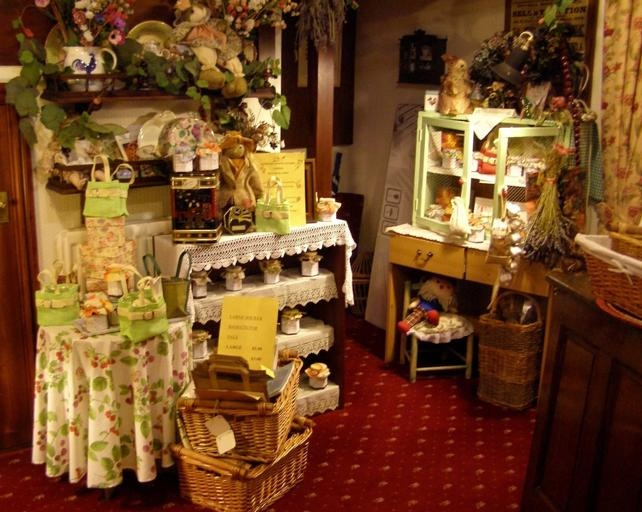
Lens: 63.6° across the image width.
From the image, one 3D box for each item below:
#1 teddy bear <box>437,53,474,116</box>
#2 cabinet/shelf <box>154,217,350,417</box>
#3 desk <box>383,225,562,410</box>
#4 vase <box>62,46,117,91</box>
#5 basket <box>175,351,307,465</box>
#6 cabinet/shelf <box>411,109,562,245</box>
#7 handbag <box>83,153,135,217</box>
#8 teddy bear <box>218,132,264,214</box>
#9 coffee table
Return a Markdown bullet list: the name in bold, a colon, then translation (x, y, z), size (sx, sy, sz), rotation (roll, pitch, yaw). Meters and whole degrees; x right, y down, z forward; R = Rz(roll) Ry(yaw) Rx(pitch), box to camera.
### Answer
- **teddy bear**: translation (1.008, -1.278, 3.846), size (0.237, 0.442, 0.139), rotation (2, 13, 15)
- **cabinet/shelf**: translation (-0.423, 0.322, 2.993), size (1.191, 1.130, 0.533), rotation (-9, 13, -36)
- **desk**: translation (1.127, 0.371, 4.048), size (0.680, 1.250, 1.628), rotation (-5, 11, -40)
- **vase**: translation (-1.221, -0.997, 2.796), size (0.280, 0.259, 0.199), rotation (-2, 12, -33)
- **basket**: translation (-0.385, 0.834, 2.647), size (0.657, 0.418, 0.343), rotation (-5, 13, -17)
- **cabinet/shelf**: translation (1.263, -0.569, 3.962), size (1.032, 0.941, 0.664), rotation (17, 22, 39)
- **handbag**: translation (-1.140, -0.383, 2.804), size (0.240, 0.328, 0.309), rotation (-4, 13, -9)
- **teddy bear**: translation (-0.483, -0.506, 3.085), size (0.268, 0.461, 0.129), rotation (-6, 14, -19)
- **coffee table**: translation (-1.065, 0.706, 2.955), size (0.829, 0.755, 0.861), rotation (6, 6, 32)
